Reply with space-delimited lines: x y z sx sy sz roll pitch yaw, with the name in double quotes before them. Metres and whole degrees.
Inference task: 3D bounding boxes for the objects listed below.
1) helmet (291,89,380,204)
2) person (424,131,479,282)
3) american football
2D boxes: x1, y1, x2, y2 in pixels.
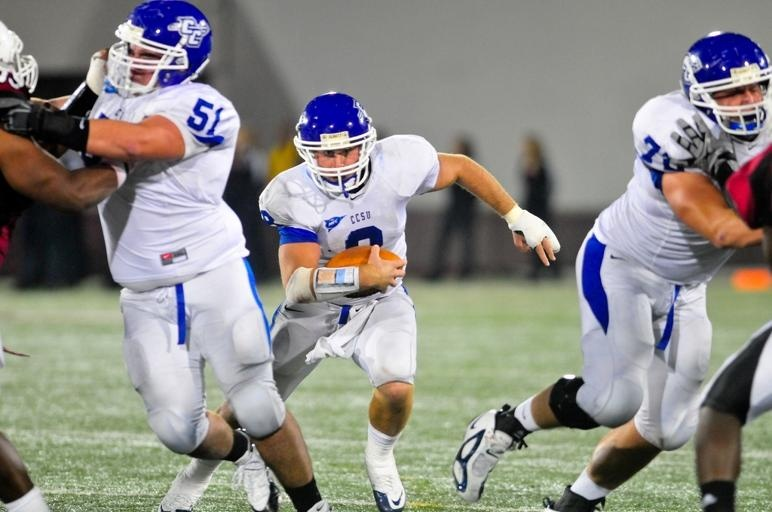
"helmet" -0.231 -0.482 5.084 0.397 0.449 0.484 -11 33 -4
"person" 0.765 -0.612 12.584 0.420 1.813 0.588 0 -11 10
"american football" -0.113 0.097 5.037 0.341 0.268 0.327 1 8 -4
